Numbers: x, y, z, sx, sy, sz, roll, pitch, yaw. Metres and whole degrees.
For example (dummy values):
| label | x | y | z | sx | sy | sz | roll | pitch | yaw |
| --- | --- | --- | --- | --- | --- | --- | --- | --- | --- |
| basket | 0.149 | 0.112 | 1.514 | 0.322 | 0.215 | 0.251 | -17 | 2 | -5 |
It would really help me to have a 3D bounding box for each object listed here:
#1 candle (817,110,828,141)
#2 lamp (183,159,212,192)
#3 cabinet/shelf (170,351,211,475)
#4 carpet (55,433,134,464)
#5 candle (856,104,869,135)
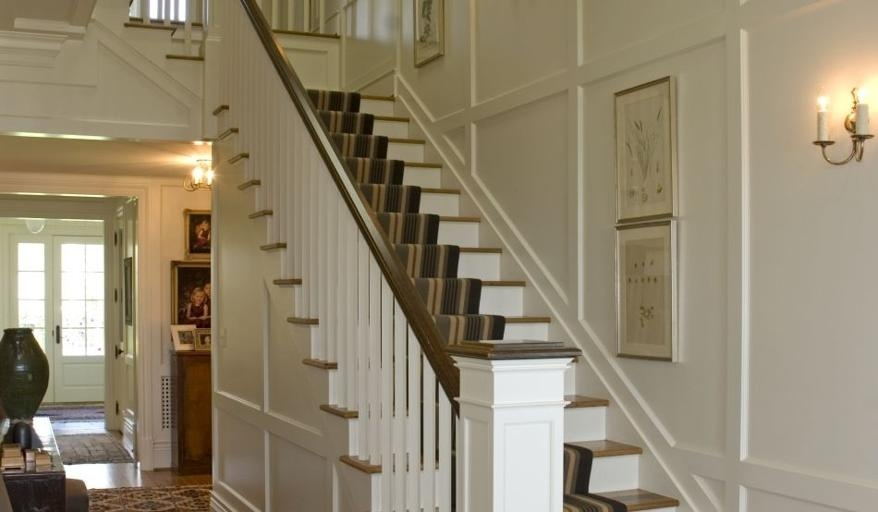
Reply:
| label | x | y | z | sx | sy | sz | roll | pitch | yaw |
| --- | --- | --- | --- | --- | --- | --- | --- | --- | --- |
| candle | 2.119 | -0.716 | 3.824 | 0.061 | 0.167 | 0.027 | 0 | -3 | -9 |
| lamp | -2.700 | -0.925 | 7.767 | 0.350 | 0.328 | 0.332 | -3 | 11 | -22 |
| cabinet/shelf | -2.870 | 1.834 | 8.131 | 0.391 | 1.421 | 0.123 | -1 | -3 | -8 |
| carpet | -4.625 | 2.574 | 9.247 | 0.752 | 0.102 | 1.941 | 2 | -5 | -31 |
| candle | 2.272 | -0.737 | 3.726 | 0.058 | 0.171 | 0.027 | -2 | -3 | 13 |
